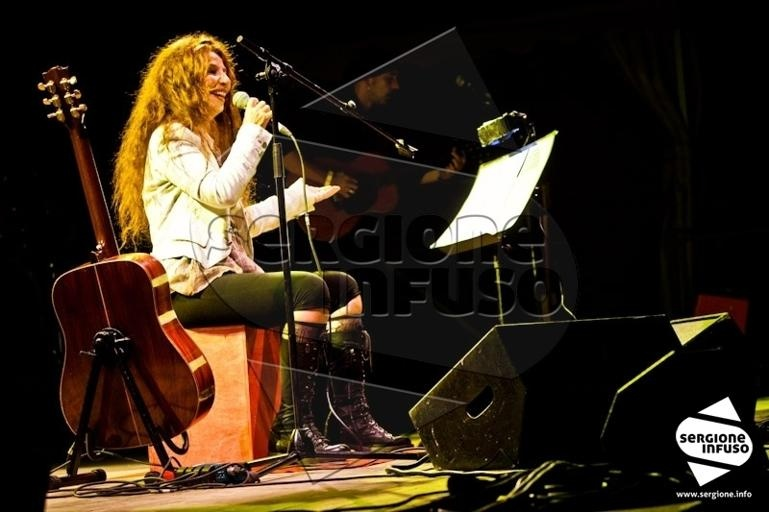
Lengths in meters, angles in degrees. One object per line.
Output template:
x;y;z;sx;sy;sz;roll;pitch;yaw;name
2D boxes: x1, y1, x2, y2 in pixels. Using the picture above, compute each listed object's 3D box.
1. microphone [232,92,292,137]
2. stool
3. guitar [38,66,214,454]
-0.600;-0.681;3.758;0.225;0.269;0.465;-13;21;-8;microphone
-0.728;0.741;3.950;0.649;0.682;0.688;-23;-19;-14;stool
-1.318;0.094;3.545;0.655;1.715;0.848;-20;23;-24;guitar
